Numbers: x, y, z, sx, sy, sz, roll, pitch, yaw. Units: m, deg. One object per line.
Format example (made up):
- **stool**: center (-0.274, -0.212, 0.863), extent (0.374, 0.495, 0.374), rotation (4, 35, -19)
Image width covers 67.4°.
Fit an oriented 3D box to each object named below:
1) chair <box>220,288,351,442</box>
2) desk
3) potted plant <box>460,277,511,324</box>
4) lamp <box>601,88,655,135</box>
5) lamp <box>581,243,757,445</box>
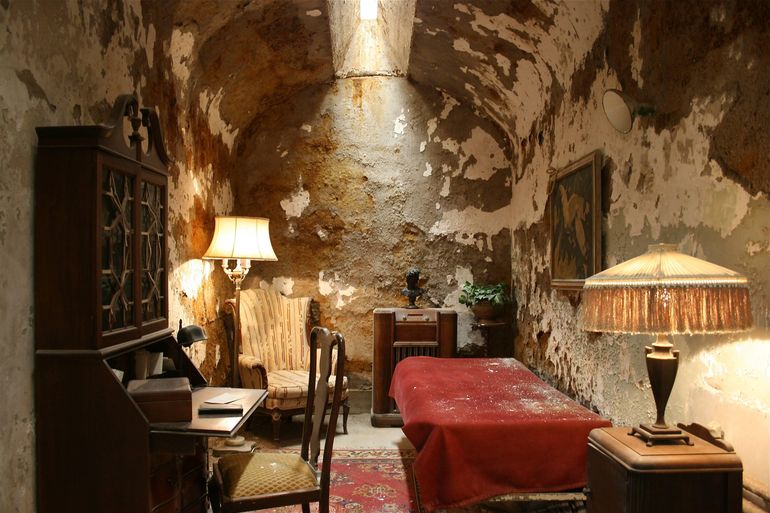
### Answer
- **chair**: center (-0.876, 0.930, 5.019), extent (0.957, 1.240, 1.013), rotation (0, -1, 26)
- **desk**: center (0.643, 1.101, 3.704), extent (1.102, 0.619, 1.193), rotation (-1, -5, -2)
- **potted plant**: center (0.947, 0.424, 5.505), extent (0.405, 0.317, 0.418), rotation (-1, -2, 4)
- **lamp**: center (1.401, -0.845, 3.376), extent (0.271, 0.258, 0.246), rotation (-2, 20, -36)
- **lamp**: center (1.298, 0.332, 2.900), extent (0.803, 0.963, 0.800), rotation (-2, 5, -13)
